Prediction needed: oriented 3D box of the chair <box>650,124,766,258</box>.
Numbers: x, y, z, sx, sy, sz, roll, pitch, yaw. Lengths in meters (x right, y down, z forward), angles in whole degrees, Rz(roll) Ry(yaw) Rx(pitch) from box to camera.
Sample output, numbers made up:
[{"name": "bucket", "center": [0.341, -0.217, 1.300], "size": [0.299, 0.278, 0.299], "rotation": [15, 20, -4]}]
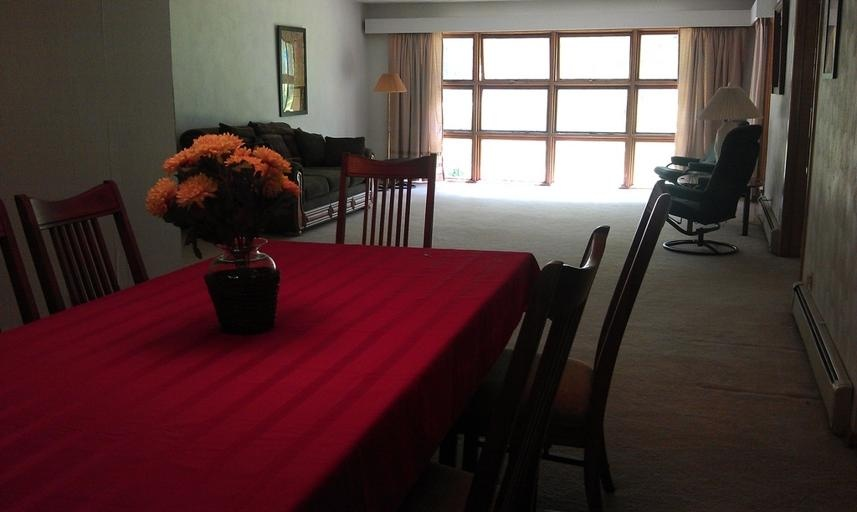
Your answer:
[{"name": "chair", "center": [2.956, -0.619, 5.827], "size": [0.811, 1.033, 0.745], "rotation": [-3, -3, 36]}]

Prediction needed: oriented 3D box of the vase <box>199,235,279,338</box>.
[{"name": "vase", "center": [-0.661, 0.090, 1.879], "size": [0.243, 0.270, 0.237], "rotation": [-4, 3, -2]}]

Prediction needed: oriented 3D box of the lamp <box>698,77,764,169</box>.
[{"name": "lamp", "center": [3.596, -1.573, 6.419], "size": [0.660, 0.942, 0.703], "rotation": [11, 22, 40]}]

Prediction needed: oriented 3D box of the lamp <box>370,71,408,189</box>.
[{"name": "lamp", "center": [-0.764, -2.412, 10.078], "size": [0.695, 2.025, 0.699], "rotation": [14, 18, 39]}]

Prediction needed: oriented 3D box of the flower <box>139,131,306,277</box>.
[{"name": "flower", "center": [-0.662, -0.206, 1.872], "size": [0.417, 0.421, 0.421], "rotation": [4, 19, 27]}]

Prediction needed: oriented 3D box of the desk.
[{"name": "desk", "center": [3.926, -0.648, 6.859], "size": [0.985, 1.056, 0.923], "rotation": [-12, 16, -32]}]
